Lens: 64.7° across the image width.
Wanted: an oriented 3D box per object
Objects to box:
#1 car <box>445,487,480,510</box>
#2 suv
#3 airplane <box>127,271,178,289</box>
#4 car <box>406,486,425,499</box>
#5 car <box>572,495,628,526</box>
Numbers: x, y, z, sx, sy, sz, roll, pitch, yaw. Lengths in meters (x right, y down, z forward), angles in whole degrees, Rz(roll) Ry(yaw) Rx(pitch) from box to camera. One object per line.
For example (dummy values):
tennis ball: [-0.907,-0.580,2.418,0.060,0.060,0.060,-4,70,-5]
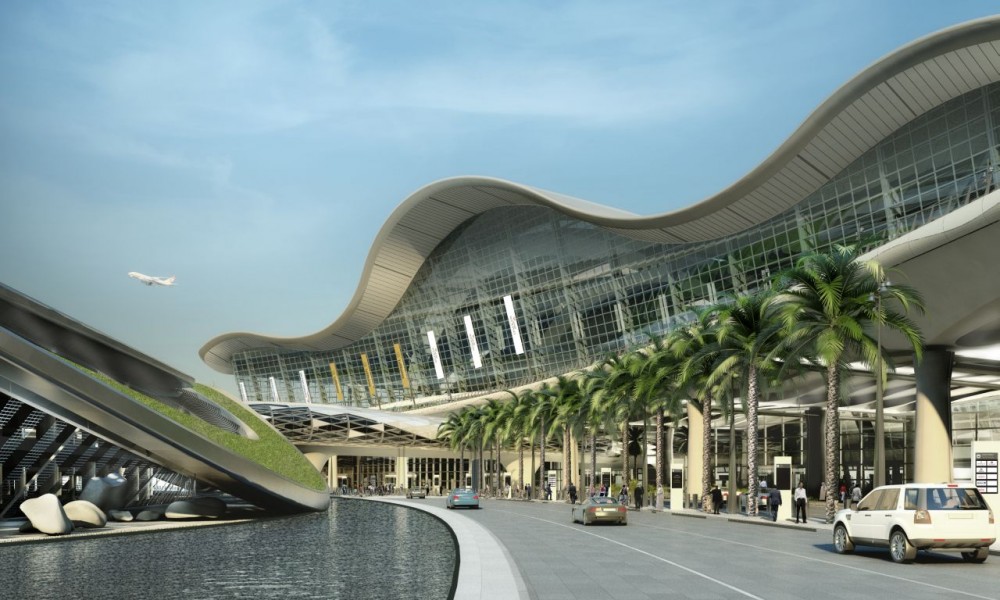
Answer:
car: [-2.426,12.952,52.136,1.301,0.742,2.592,0,-5,-6]
suv: [12.335,6.864,24.354,2.069,2.240,4.569,14,-24,-32]
airplane: [-26.340,-1.580,60.041,3.087,1.041,2.804,-5,14,-28]
car: [-7.728,18.002,74.223,1.141,0.690,2.198,2,-10,-21]
car: [4.386,9.420,35.822,2.546,1.329,1.365,-19,-28,41]
